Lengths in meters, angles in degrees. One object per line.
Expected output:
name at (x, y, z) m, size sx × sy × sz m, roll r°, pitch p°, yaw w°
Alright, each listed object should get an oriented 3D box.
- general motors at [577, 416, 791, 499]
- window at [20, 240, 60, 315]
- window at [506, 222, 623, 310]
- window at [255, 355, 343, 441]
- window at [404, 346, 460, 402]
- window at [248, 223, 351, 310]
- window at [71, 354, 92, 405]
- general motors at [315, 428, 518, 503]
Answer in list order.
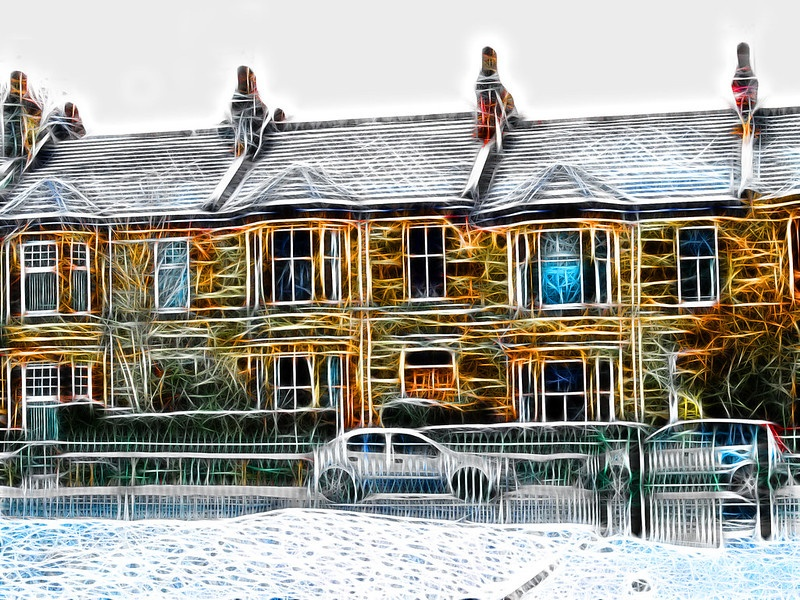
general motors at (6.130, 3.331, 39.788) m, size 4.457 × 2.384 × 1.247 m, roll 1°, pitch -6°, yaw 11°
window at (-7.962, -0.520, 40.945) m, size 0.800 × 1.745 × 0.158 m, roll -2°, pitch 33°, yaw -14°
window at (3.697, -0.636, 40.319) m, size 2.229 × 1.673 × 1.342 m, roll -1°, pitch -5°, yaw -5°
window at (-2.556, 1.826, 40.260) m, size 2.350 × 0.545 × 2.519 m, roll 4°, pitch 32°, yaw 4°
window at (0.927, 1.501, 40.395) m, size 0.993 × 0.939 × 0.846 m, roll -6°, pitch 11°, yaw 21°
window at (-2.139, -0.749, 40.309) m, size 1.729 × 1.394 × 0.088 m, roll -1°, pitch -4°, yaw 4°
window at (-7.016, 1.754, 40.707) m, size 0.373 × 0.786 × 0.095 m, roll 0°, pitch 29°, yaw -9°
general motors at (0.059, 3.648, 39.932) m, size 2.927 × 1.263 × 1.913 m, roll 0°, pitch -15°, yaw 3°
